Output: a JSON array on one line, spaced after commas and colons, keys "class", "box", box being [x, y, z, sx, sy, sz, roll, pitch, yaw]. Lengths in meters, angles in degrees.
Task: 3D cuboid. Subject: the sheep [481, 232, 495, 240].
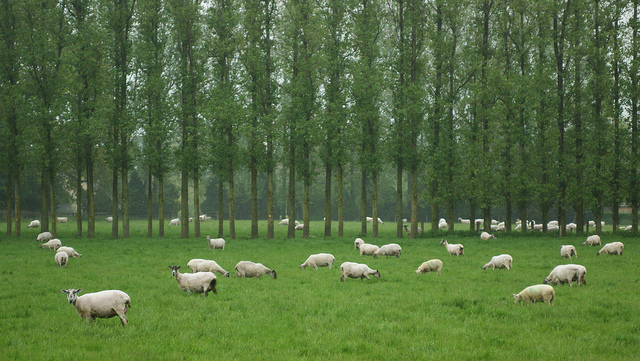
[{"class": "sheep", "box": [27.034, 8.625, 186.839, 2.594, 1.372, 0.853, 4, 10, -12]}]

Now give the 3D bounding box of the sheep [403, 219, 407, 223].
[{"class": "sheep", "box": [16.970, 7.744, 229.884, 0.667, 0.710, 0.869, -1, 3, 5]}]

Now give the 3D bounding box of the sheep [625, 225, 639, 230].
[{"class": "sheep", "box": [51.256, 7.554, 191.843, 2.288, 1.162, 0.615, -5, 8, -30]}]

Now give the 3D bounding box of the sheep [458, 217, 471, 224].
[{"class": "sheep", "box": [28.986, 7.818, 230.098, 2.725, 1.645, 0.818, 3, -4, 25]}]

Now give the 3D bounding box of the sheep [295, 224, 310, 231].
[{"class": "sheep", "box": [-3.027, 8.006, 203.564, 1.997, 1.016, 0.781, 2, -36, 17]}]

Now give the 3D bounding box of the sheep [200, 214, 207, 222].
[{"class": "sheep", "box": [-22.712, 7.325, 232.840, 1.364, 1.336, 4.137, 0, -3, -7]}]

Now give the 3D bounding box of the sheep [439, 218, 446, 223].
[{"class": "sheep", "box": [22.868, 7.186, 216.168, 0.851, 0.563, 1.028, -3, -2, 1]}]

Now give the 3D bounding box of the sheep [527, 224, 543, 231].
[{"class": "sheep", "box": [38.114, 8.136, 206.733, 0.932, 1.924, 3.580, 10, 6, 37]}]
